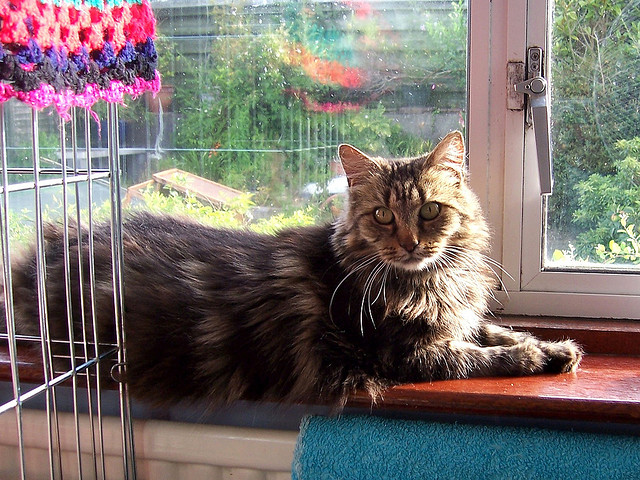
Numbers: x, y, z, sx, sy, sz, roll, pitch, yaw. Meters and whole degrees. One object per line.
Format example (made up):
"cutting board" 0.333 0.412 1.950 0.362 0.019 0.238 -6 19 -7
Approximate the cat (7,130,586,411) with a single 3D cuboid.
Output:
"cat" -0.065 0.071 1.514 1.279 0.646 0.463 -3 8 -2
